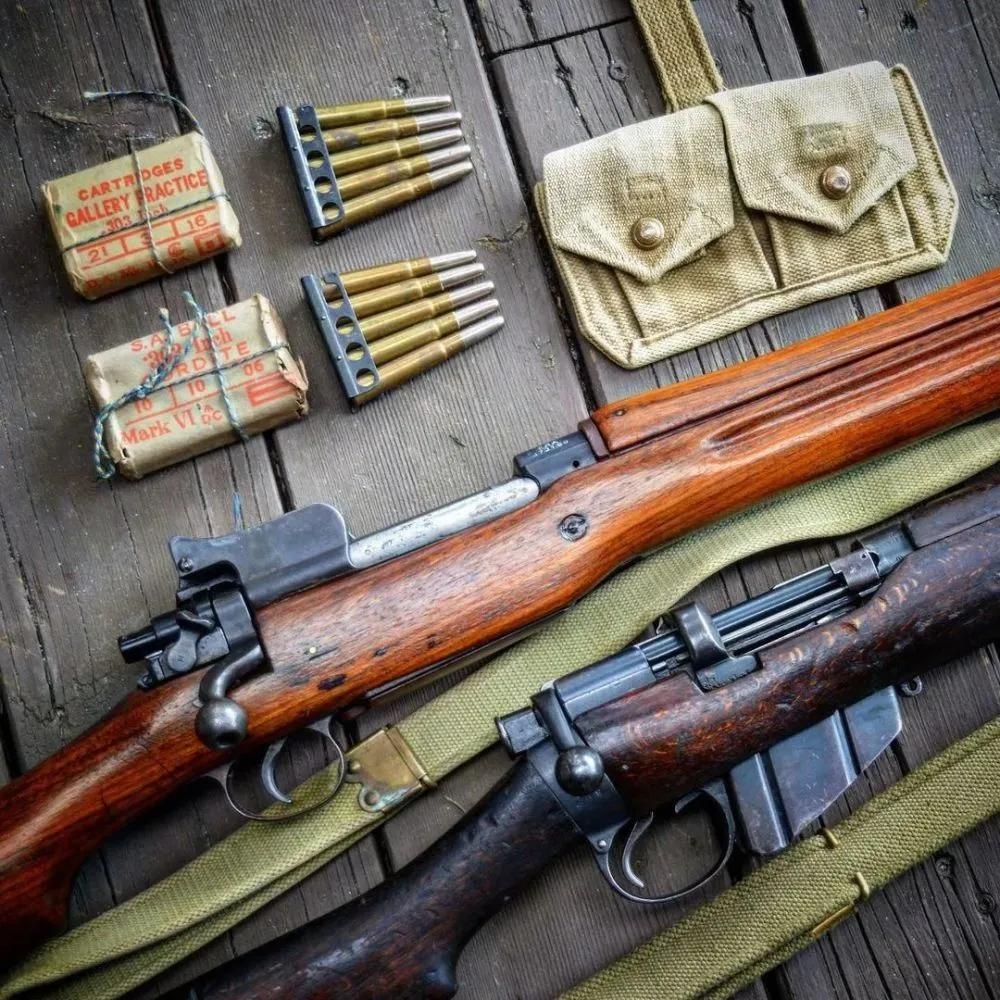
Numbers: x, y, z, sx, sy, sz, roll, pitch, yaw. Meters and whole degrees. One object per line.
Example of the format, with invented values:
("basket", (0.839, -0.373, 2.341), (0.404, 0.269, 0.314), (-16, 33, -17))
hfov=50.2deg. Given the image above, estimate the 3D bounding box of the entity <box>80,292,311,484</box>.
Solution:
("entity", (-0.668, -0.266, 2.392), (0.460, 0.160, 0.307), (-21, 79, -3))
